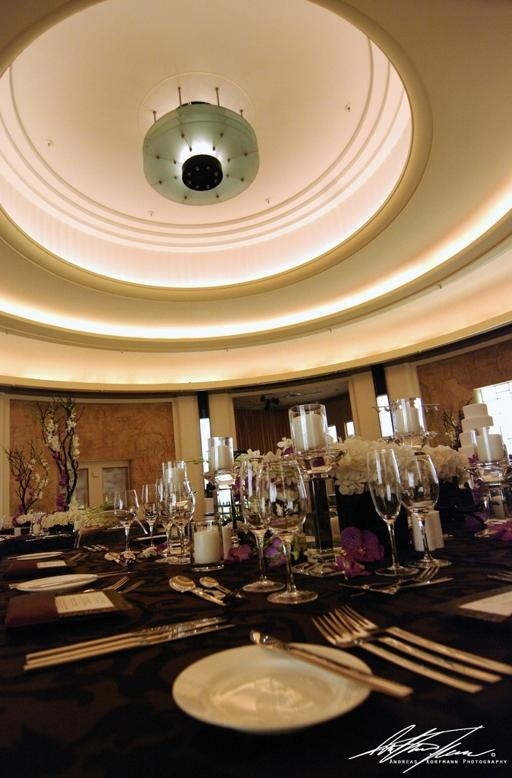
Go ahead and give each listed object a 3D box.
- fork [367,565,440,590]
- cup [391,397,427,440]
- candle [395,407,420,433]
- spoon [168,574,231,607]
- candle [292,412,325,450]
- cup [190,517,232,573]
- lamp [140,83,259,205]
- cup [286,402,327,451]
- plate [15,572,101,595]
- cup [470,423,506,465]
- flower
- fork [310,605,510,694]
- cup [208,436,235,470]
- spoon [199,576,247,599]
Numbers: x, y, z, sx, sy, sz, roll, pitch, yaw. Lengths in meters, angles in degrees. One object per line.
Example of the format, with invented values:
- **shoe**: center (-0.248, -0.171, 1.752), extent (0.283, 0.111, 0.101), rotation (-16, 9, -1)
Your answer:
- **fork**: center (0.308, 0.399, 1.012), extent (0.031, 0.028, 0.193), rotation (-1, -10, 34)
- **cup**: center (0.548, 0.107, 1.779), extent (0.134, 0.167, 0.140), rotation (-2, -2, 0)
- **candle**: center (0.539, 0.117, 1.777), extent (0.081, 0.093, 0.089), rotation (0, -4, 5)
- **spoon**: center (-0.121, 0.429, 1.078), extent (0.064, 0.030, 0.216), rotation (5, -10, -30)
- **candle**: center (0.131, 0.122, 1.323), extent (0.111, 0.103, 0.078), rotation (-11, -11, 25)
- **cup**: center (-0.153, 0.522, 1.594), extent (0.131, 0.165, 0.142), rotation (-1, -12, 0)
- **lamp**: center (-0.580, -2.199, 4.466), extent (1.122, 1.231, 0.684), rotation (14, -29, 15)
- **cup**: center (0.156, 0.111, 1.368), extent (0.106, 0.139, 0.119), rotation (-3, -16, -6)
- **plate**: center (-0.519, 0.510, 1.253), extent (0.150, 0.029, 0.120), rotation (6, -17, -15)
- **cup**: center (0.731, 0.186, 1.615), extent (0.099, 0.123, 0.105), rotation (-11, -17, -3)
- **flower**: center (-3.218, 0.878, 7.095), extent (1.087, 1.850, 2.586), rotation (-3, -10, -20)
- **fork**: center (0.170, 0.309, 0.607), extent (0.069, 0.029, 0.239), rotation (1, -4, -30)
- **cup**: center (-0.125, 0.241, 1.801), extent (0.100, 0.124, 0.104), rotation (-3, -15, -1)
- **spoon**: center (-0.087, 0.450, 1.111), extent (0.044, 0.031, 0.218), rotation (1, -18, -18)
